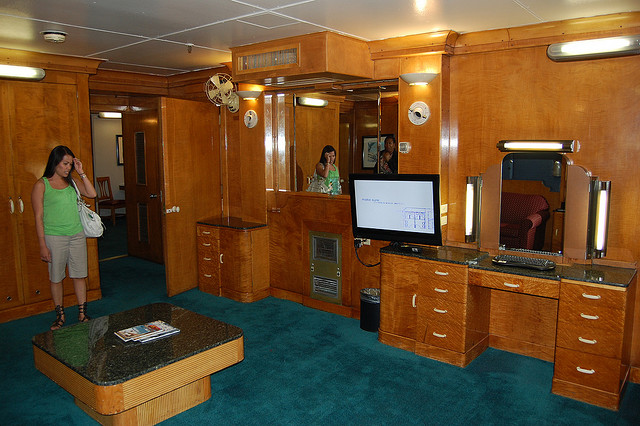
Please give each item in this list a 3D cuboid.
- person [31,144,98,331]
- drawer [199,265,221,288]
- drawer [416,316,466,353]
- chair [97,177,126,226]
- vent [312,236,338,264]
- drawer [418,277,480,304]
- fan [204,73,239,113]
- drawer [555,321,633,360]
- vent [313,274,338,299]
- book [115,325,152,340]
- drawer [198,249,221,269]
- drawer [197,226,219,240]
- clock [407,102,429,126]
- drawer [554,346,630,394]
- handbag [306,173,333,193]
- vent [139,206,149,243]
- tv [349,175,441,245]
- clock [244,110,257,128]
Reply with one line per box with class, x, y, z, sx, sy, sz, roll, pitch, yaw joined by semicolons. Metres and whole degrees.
person;-3.313;0.290;5.889;0.590;2.333;0.712;-3;11;-9
drawer;-1.711;0.972;6.958;0.336;0.316;0.204;9;-9;-8
drawer;1.384;1.381;5.123;0.379;0.230;0.404;3;1;44
chair;-5.992;-0.365;12.452;0.694;1.114;0.650;-14;10;42
vent;0.077;0.505;6.367;0.499;0.398;0.040;4;8;38
drawer;1.531;0.949;5.345;0.759;0.206;0.752;2;-11;11
fan;-1.490;-1.856;6.868;0.475;0.567;0.570;-3;11;-11
drawer;2.687;1.260;4.428;0.474;0.282;0.496;1;-1;38
vent;0.088;1.039;6.367;0.381;0.246;0.033;6;3;36
book;-1.838;1.167;4.419;0.258;0.029;0.231;-10;14;-40
drawer;-1.705;0.705;6.922;0.305;0.178;0.306;4;2;33
drawer;-1.726;0.292;6.891;0.422;0.178;0.036;5;13;29
clock;1.183;-1.221;5.444;0.257;0.245;0.066;-8;4;40
drawer;2.657;1.564;4.470;0.496;0.289;0.498;2;0;36
handbag;0.004;-0.367;6.568;0.413;0.378;0.249;0;-7;37
vent;-3.375;0.204;8.575;0.076;0.698;0.346;-10;14;-40
tv;0.910;-0.064;5.393;1.075;0.803;0.105;5;12;28
clock;-1.055;-1.448;6.824;0.243;0.254;0.044;8;14;38
